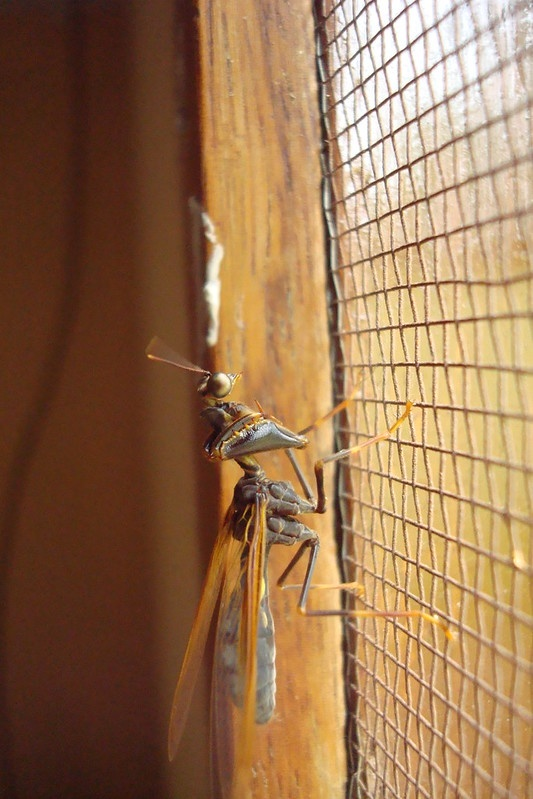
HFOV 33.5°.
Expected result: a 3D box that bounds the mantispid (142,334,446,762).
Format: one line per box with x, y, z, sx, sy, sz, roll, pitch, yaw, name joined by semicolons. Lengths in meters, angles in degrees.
0.010;0.132;0.697;0.253;0.256;0.205;-10;-31;13;mantispid
